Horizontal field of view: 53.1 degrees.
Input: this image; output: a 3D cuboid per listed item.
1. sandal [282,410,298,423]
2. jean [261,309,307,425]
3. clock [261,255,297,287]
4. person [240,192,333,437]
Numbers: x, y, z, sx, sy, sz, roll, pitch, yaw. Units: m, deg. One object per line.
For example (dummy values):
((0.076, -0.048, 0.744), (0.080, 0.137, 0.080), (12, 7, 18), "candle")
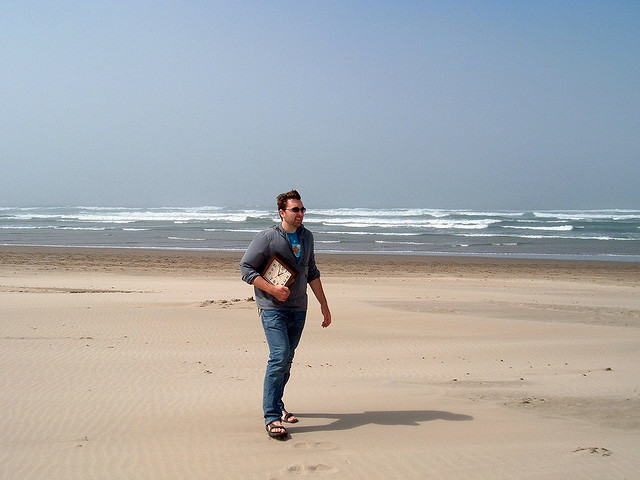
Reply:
((-0.321, 1.900, 6.913), (0.144, 0.088, 0.354), (3, -10, -28), "sandal")
((-0.430, 1.320, 6.724), (0.385, 1.224, 0.535), (4, 8, 22), "jean")
((-0.455, 0.347, 6.591), (0.324, 0.328, 0.093), (38, -42, -25), "clock")
((-0.385, 0.727, 6.770), (0.642, 2.473, 0.893), (5, 8, 28), "person")
